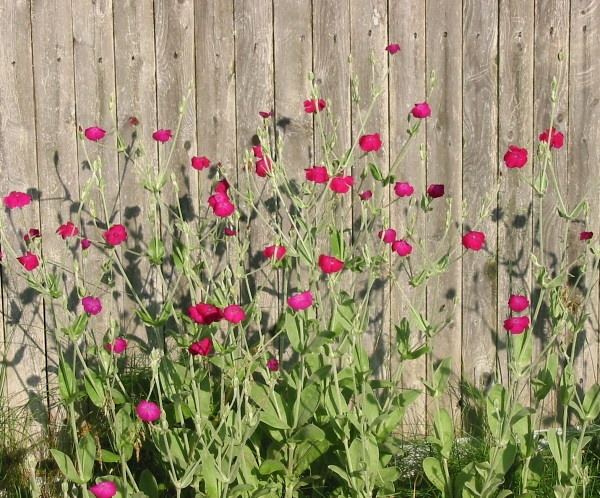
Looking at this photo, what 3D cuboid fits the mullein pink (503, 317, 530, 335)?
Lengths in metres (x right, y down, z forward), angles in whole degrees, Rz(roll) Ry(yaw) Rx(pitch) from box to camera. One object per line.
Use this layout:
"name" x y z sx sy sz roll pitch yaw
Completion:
"mullein pink" 0.911 0.331 3.778 0.101 0.069 0.076 -2 14 13

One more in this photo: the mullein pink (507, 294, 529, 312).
"mullein pink" 0.976 0.247 4.031 0.050 0.071 0.063 14 28 35

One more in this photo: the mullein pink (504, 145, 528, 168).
"mullein pink" 0.998 -0.429 4.154 0.099 0.093 0.199 0 16 20
